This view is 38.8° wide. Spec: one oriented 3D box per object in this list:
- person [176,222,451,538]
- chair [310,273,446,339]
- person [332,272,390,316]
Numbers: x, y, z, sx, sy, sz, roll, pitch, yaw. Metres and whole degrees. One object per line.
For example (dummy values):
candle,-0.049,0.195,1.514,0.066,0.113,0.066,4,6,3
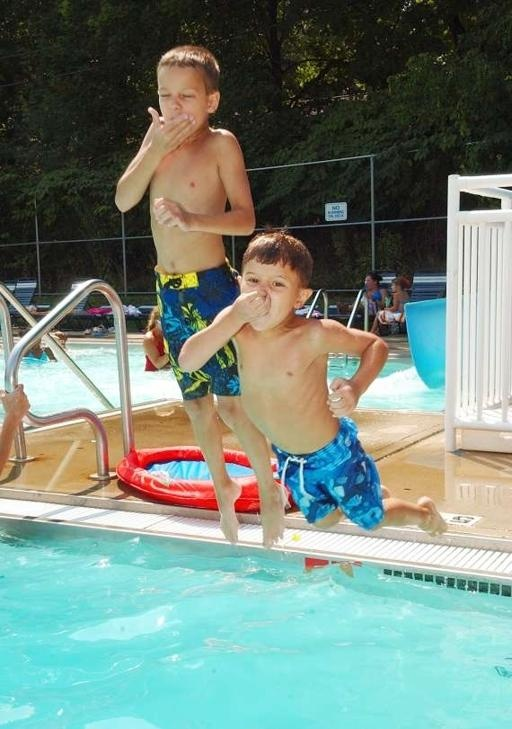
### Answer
person,0.183,0.139,2.136,0.829,0.933,0.517,-4,0,-25
chair,1.950,-0.980,11.260,1.220,0.804,2.293,4,6,40
person,1.901,-1.120,11.788,0.904,0.421,1.214,7,19,33
